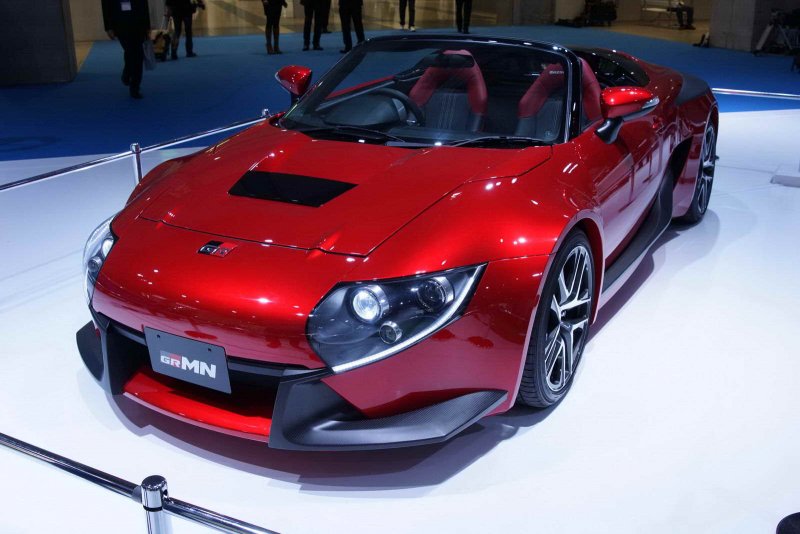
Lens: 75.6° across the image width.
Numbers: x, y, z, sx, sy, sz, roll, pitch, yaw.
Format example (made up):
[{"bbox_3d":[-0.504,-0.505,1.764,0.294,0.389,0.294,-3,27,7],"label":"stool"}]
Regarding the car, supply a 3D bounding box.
[{"bbox_3d":[0.460,-0.287,3.023,1.968,1.092,3.472,13,26,33],"label":"car"}]
